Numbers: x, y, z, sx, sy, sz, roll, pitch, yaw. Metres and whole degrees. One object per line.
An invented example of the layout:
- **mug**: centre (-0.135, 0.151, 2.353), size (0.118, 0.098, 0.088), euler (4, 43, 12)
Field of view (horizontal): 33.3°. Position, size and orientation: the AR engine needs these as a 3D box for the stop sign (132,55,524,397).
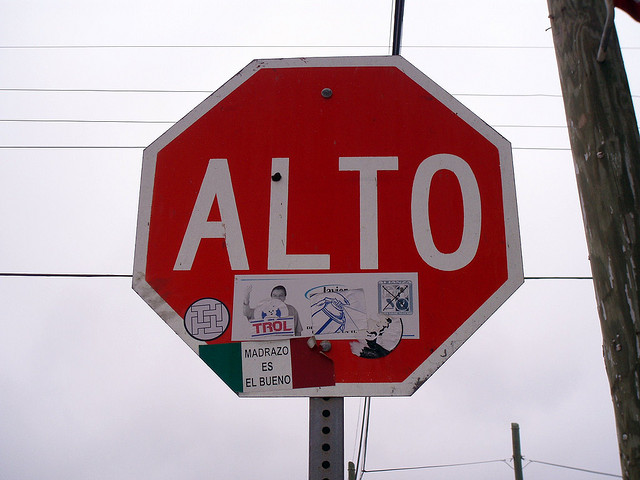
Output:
- **stop sign**: centre (0.030, 0.007, 3.966), size (0.967, 1.093, 0.048), euler (-1, -15, 2)
